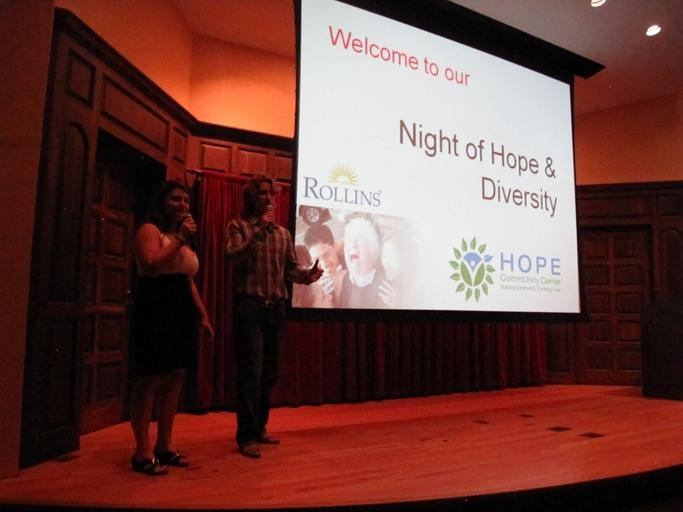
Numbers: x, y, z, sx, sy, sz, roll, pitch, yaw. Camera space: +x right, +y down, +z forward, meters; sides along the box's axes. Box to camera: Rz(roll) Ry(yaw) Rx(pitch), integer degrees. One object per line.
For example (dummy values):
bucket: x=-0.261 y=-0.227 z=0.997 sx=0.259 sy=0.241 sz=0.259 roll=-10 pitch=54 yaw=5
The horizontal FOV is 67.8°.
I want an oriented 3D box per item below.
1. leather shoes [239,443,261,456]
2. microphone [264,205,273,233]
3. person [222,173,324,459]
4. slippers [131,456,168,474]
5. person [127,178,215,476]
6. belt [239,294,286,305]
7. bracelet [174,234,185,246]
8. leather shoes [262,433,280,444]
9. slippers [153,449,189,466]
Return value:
leather shoes: x=-0.592 y=1.251 z=3.329 sx=0.056 sy=0.067 sz=0.148 roll=11 pitch=-15 yaw=-38
microphone: x=-0.490 y=-0.257 z=3.430 sx=0.057 sy=0.199 sz=0.169 roll=1 pitch=-6 yaw=-4
person: x=-0.536 y=0.381 z=3.511 sx=0.531 sy=1.876 sz=0.404 roll=6 pitch=-9 yaw=-44
slippers: x=-1.156 y=1.224 z=3.064 sx=0.244 sy=0.088 sz=0.091 roll=-6 pitch=-14 yaw=34
person: x=-1.056 y=0.410 z=3.149 sx=0.441 sy=1.765 sz=0.459 roll=3 pitch=-7 yaw=-22
belt: x=-0.543 y=0.292 z=3.475 sx=0.317 sy=0.067 sz=0.115 roll=3 pitch=-6 yaw=-32
bracelet: x=-0.958 y=-0.096 z=3.007 sx=0.048 sy=0.043 sz=0.051 roll=-3 pitch=-18 yaw=5
leather shoes: x=-0.520 y=1.295 z=3.654 sx=0.147 sy=0.070 sz=0.054 roll=0 pitch=-3 yaw=3
slippers: x=-1.063 y=1.247 z=3.209 sx=0.240 sy=0.105 sz=0.092 roll=4 pitch=-11 yaw=4
